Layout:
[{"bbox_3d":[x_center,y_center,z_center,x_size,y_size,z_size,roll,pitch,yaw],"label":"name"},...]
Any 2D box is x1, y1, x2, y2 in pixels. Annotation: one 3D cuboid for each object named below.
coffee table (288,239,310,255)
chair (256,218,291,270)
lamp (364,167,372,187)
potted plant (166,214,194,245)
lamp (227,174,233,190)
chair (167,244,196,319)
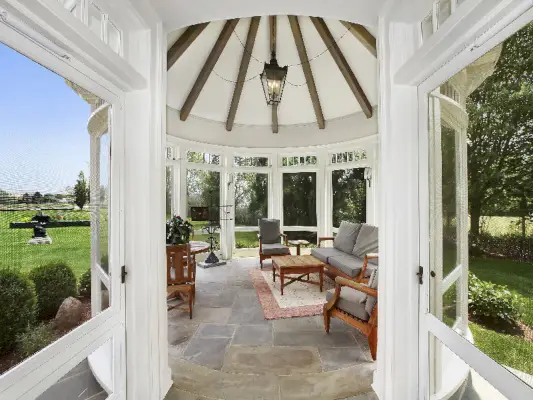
[{"bbox_3d":[0.663,0.843,6.443,0.378,0.411,0.389,1,-2,-15],"label":"coffee table"},{"bbox_3d":[0.099,0.825,6.615,0.595,0.862,0.738,-1,1,0],"label":"chair"},{"bbox_3d":[1.877,-0.420,6.358,0.135,0.364,0.299,2,6,17],"label":"lamp"},{"bbox_3d":[-1.140,0.364,4.447,0.345,0.329,0.362,1,-1,9],"label":"potted plant"},{"bbox_3d":[-0.778,-0.383,7.363,0.137,0.318,0.083,-2,7,-17],"label":"lamp"},{"bbox_3d":[-1.061,0.921,4.280,0.364,0.905,0.825,-1,6,-16],"label":"chair"}]
